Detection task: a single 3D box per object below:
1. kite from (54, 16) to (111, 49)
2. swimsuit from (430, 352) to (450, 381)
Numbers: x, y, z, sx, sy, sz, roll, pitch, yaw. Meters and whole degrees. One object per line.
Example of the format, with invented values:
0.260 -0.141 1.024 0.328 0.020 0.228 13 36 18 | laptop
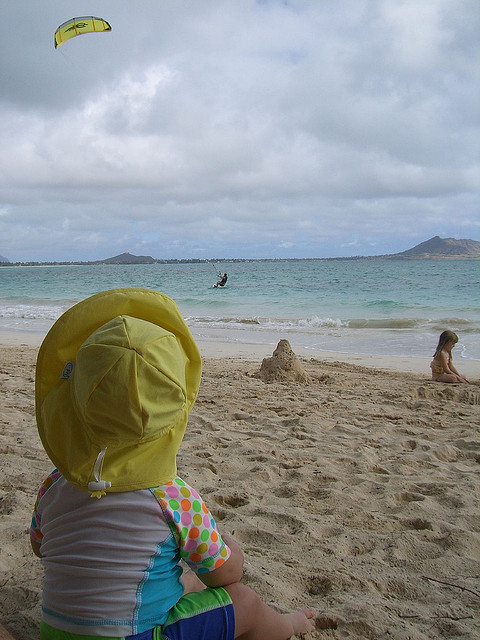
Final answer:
-1.924 -3.498 6.445 0.425 0.271 0.598 -2 5 -43 | kite
2.481 0.591 6.673 0.296 0.365 0.344 2 -1 0 | swimsuit
